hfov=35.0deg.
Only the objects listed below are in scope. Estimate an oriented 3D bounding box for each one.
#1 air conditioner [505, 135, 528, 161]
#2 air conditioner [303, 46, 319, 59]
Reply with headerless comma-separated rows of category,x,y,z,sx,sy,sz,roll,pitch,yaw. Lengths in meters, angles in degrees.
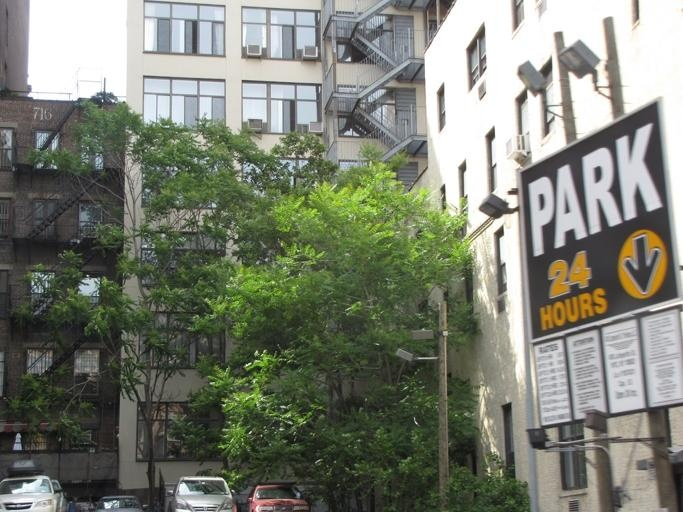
air conditioner,6.390,-4.010,39.589,0.749,1.082,1.209,-1,-15,-1
air conditioner,-1.915,-12.140,65.004,1.069,0.899,0.665,0,-22,-7
